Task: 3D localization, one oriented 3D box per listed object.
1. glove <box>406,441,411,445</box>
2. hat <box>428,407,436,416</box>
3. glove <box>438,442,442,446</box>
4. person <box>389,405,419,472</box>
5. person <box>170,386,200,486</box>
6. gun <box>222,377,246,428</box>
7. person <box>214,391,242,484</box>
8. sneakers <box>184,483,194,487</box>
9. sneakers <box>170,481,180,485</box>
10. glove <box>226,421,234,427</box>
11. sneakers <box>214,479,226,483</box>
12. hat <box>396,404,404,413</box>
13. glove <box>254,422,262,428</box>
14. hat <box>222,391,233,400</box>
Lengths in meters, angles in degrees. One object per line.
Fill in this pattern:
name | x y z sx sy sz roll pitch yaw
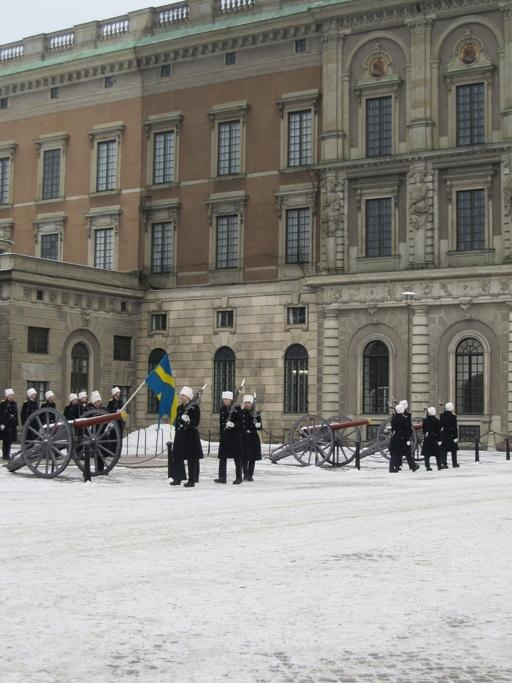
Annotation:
glove | 3.187 2.132 32.042 0.104 0.090 0.151 9 -3 4
hat | 3.830 1.508 33.045 0.173 0.201 0.252 0 -10 -3
glove | 4.029 2.259 33.580 0.032 0.127 0.095 8 5 -7
person | 3.026 2.005 31.713 0.559 1.508 1.448 -1 -7 6
person | -1.204 1.640 26.068 0.536 1.744 1.101 0 -6 -2
gun | -0.469 1.289 32.963 0.472 0.808 0.255 17 13 25
person | -0.492 1.701 26.891 0.459 1.683 0.880 0 -6 -2
sneakers | -1.127 2.417 25.634 0.061 0.082 0.181 1 0 -37
sneakers | -1.376 2.407 25.936 0.173 0.097 0.252 0 -7 -5
glove | -0.450 1.445 26.648 0.092 0.065 0.134 3 5 -1
sneakers | -0.642 2.466 26.861 0.216 0.115 0.074 3 -3 35
hat | 2.971 1.392 31.615 0.133 0.098 0.179 -2 34 26
glove | 0.022 1.529 27.837 0.098 0.047 0.136 0 -8 19
hat | -0.519 0.977 27.319 0.152 0.123 0.156 1 1 1
